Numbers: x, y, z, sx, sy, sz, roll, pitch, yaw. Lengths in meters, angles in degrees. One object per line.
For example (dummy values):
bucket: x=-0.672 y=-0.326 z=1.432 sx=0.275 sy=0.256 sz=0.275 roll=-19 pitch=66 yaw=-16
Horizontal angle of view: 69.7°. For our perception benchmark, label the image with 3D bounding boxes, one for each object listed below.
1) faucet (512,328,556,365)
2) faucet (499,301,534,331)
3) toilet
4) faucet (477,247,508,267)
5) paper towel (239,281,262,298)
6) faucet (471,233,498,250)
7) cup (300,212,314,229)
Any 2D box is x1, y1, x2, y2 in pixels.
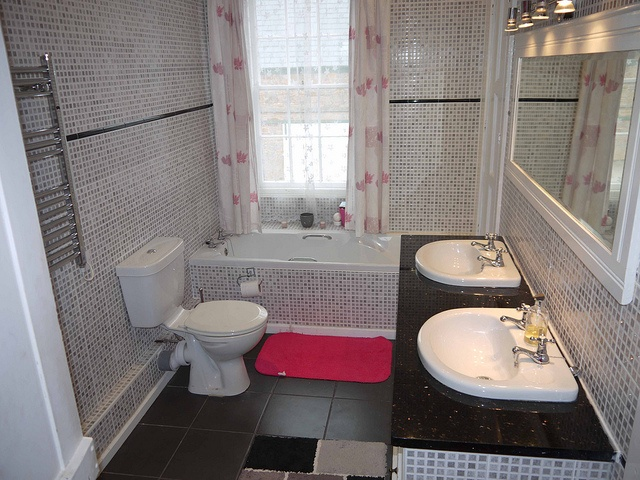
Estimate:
faucet: x=0.883 y=0.450 z=1.954 sx=0.177 sy=0.135 sz=0.095 roll=-4 pitch=16 yaw=5
faucet: x=0.896 y=0.332 z=2.137 sx=0.162 sy=0.138 sz=0.095 roll=5 pitch=30 yaw=17
toilet: x=-0.823 y=0.561 z=3.236 sx=0.889 sy=1.005 sz=0.655 roll=1 pitch=13 yaw=6
faucet: x=1.047 y=0.106 z=2.804 sx=0.170 sy=0.122 sz=0.077 roll=-8 pitch=28 yaw=11
paper towel: x=-0.562 y=0.391 z=3.703 sx=0.161 sy=0.153 sz=0.125 roll=-3 pitch=9 yaw=2
faucet: x=1.089 y=0.016 z=3.006 sx=0.168 sy=0.120 sz=0.081 roll=-14 pitch=25 yaw=-35
cup: x=-0.130 y=-0.197 z=4.460 sx=0.135 sy=0.134 sz=0.135 roll=-1 pitch=21 yaw=0
